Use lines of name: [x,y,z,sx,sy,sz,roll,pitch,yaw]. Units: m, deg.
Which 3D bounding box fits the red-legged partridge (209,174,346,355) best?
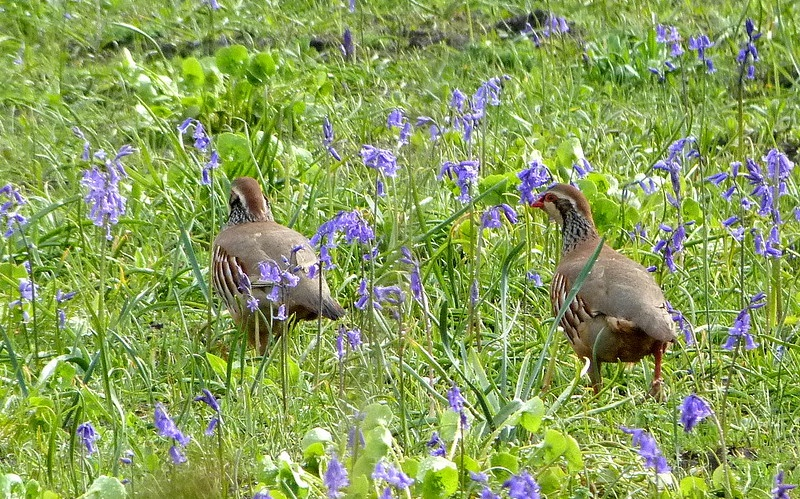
red-legged partridge: [-0.822,0.100,6.834,0.581,1.049,1.312,-8,18,-36]
